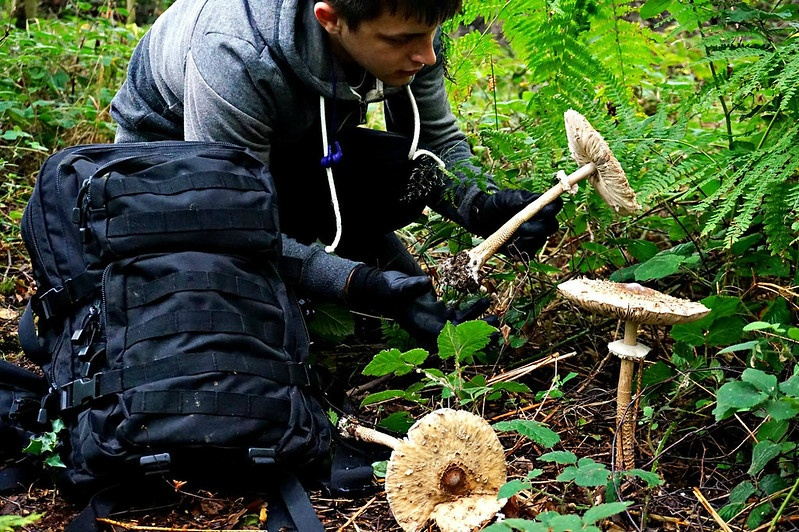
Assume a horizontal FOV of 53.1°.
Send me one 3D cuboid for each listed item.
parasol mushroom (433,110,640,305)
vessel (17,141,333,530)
[{"bbox_3d":[0.719,-0.280,4.410,1.188,0.576,0.781,-34,46,3],"label":"parasol mushroom"},{"bbox_3d":[-1.377,0.416,4.577,1.500,0.836,2.006,-5,70,-24],"label":"vessel"}]
